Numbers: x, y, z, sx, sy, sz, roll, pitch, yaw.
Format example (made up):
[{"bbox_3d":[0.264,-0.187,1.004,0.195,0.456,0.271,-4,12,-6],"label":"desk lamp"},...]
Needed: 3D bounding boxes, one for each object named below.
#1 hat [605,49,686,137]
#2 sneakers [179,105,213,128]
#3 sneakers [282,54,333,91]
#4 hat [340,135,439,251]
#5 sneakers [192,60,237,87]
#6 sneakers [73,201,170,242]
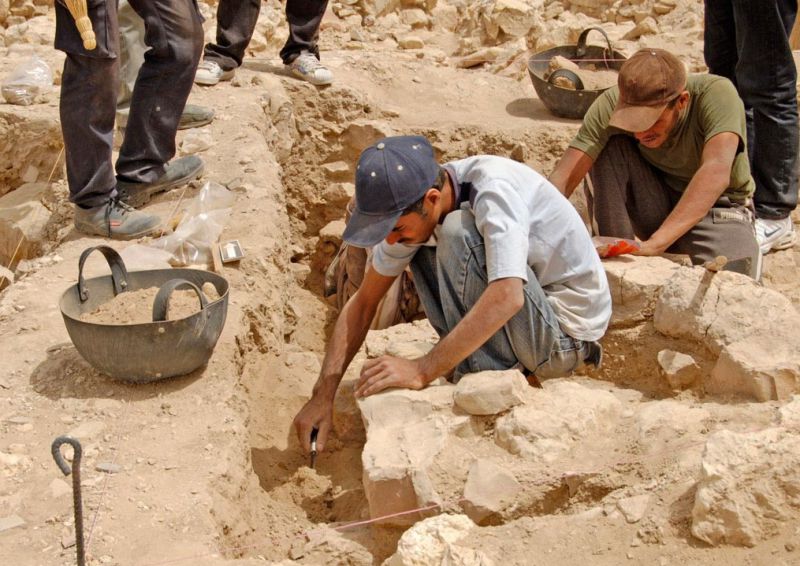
[{"bbox_3d":[1.383,-1.062,6.282,0.315,0.503,0.260,30,-9,33],"label":"hat"},{"bbox_3d":[-1.407,-1.146,7.650,0.167,0.062,0.169,-7,21,-19],"label":"sneakers"},{"bbox_3d":[-0.678,-1.663,8.545,0.455,0.214,0.171,27,61,32],"label":"sneakers"},{"bbox_3d":[-0.061,-0.454,5.457,0.333,0.452,0.491,31,36,31],"label":"hat"},{"bbox_3d":[-1.382,-1.574,8.251,0.130,0.146,0.358,12,19,6],"label":"sneakers"},{"bbox_3d":[-1.687,-0.359,6.661,0.445,0.217,0.232,2,29,-11],"label":"sneakers"}]
